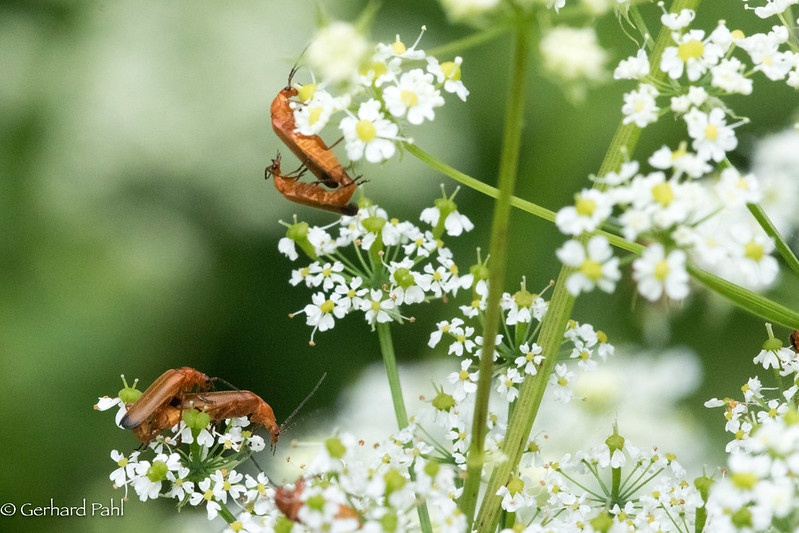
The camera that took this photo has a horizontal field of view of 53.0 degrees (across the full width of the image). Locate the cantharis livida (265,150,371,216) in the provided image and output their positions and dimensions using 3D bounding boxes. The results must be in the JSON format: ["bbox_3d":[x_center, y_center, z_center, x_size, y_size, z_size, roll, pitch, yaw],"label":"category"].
[{"bbox_3d":[-0.455,-0.375,4.135,0.449,0.335,0.159,24,-59,19],"label":"cantharis livida"}]
